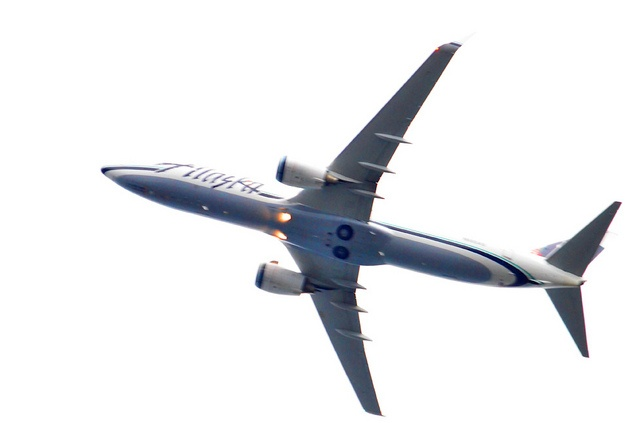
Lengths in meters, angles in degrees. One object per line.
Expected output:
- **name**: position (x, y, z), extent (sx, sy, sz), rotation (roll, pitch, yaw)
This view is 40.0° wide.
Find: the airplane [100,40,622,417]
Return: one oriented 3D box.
- **airplane**: position (1.511, 0.587, 37.394), extent (29.442, 5.030, 13.517), rotation (10, -72, 4)
